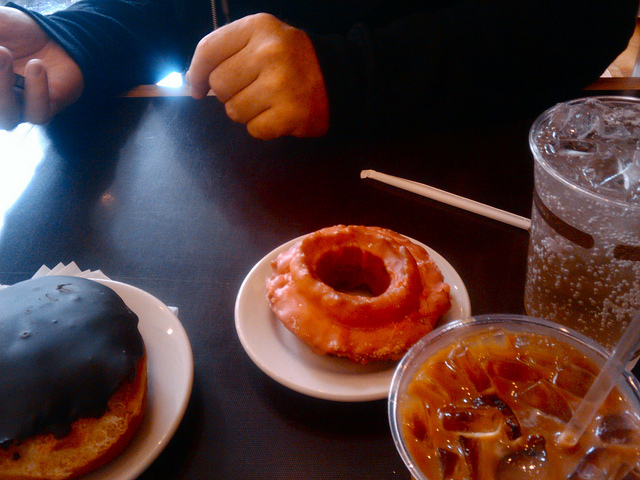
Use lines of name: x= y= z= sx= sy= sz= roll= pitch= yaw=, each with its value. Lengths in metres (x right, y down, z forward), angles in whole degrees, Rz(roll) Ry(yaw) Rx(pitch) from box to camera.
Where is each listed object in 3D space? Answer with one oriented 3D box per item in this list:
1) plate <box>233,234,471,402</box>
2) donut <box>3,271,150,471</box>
plate: x=0.044 y=0.181 z=1.154 sx=0.376 sy=0.275 sz=0.373 roll=-11 pitch=18 yaw=-30
donut: x=-0.459 y=0.227 z=1.002 sx=0.259 sy=0.188 sz=0.330 roll=-18 pitch=49 yaw=-7
